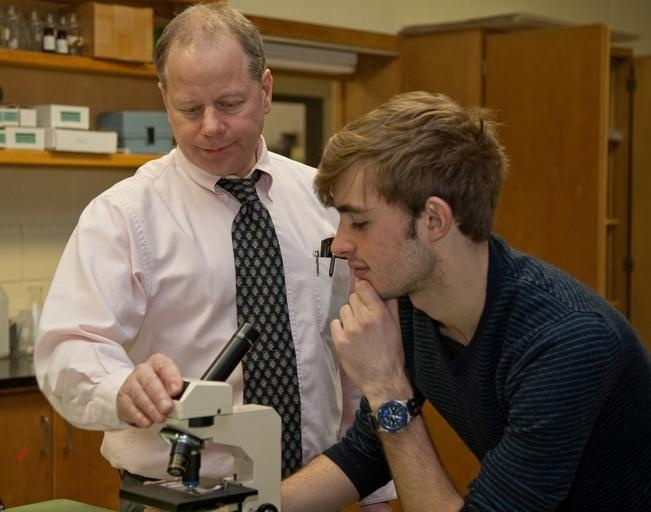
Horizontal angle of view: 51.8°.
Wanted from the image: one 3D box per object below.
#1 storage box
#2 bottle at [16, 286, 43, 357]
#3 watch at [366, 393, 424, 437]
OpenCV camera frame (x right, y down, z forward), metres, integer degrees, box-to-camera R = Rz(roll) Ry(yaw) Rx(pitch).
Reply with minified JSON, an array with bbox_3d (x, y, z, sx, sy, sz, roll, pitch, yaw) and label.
[{"bbox_3d":[-0.895,-0.961,2.929,0.267,0.296,0.199,-1,9,-35],"label":"storage box"},{"bbox_3d":[-1.356,0.297,3.052,0.089,0.258,0.095,2,-23,1],"label":"bottle"},{"bbox_3d":[0.157,0.374,1.558,0.116,0.090,0.111,-33,-18,5],"label":"watch"}]
